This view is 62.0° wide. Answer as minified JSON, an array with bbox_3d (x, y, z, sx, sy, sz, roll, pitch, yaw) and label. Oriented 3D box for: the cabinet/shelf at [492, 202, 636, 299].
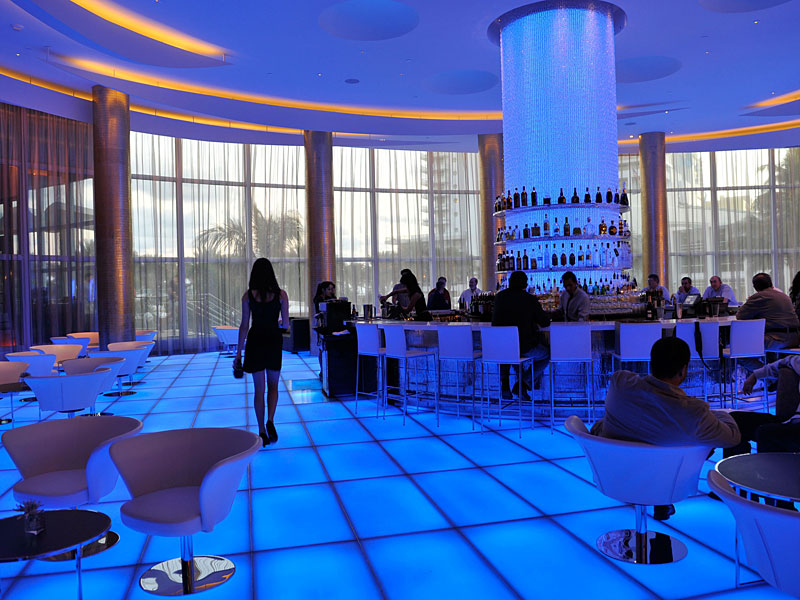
[{"bbox_3d":[2.346,-0.666,9.693,1.310,0.970,1.519,-1,2,3],"label":"cabinet/shelf"}]
